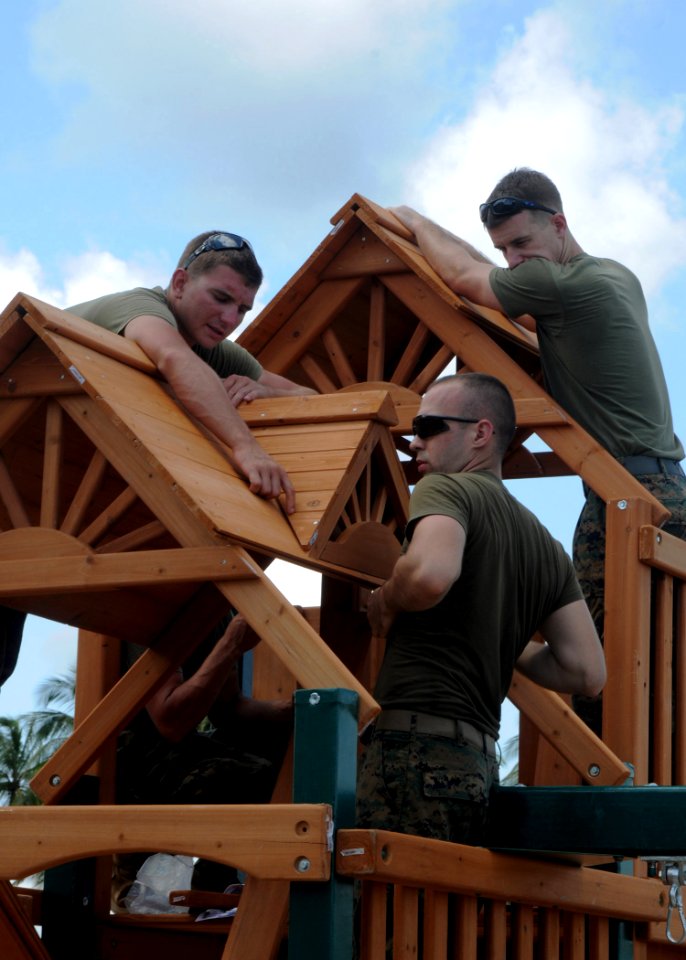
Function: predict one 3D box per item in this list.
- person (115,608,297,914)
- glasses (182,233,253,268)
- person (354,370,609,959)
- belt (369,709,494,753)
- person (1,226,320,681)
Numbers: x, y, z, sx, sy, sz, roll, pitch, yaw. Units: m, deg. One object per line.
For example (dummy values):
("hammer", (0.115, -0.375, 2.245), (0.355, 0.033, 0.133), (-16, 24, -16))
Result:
("person", (-0.549, 1.162, 6.429), (1.099, 1.357, 0.843), (-7, -13, -5))
("glasses", (-0.483, -0.926, 5.626), (0.164, 0.043, 0.167), (-33, -20, 30))
("person", (0.387, 0.536, 4.544), (0.597, 1.221, 0.980), (-6, -22, 28))
("belt", (0.313, 0.789, 4.465), (0.405, 0.109, 0.179), (7, -18, -13))
("person", (-0.618, -0.370, 5.605), (0.930, 1.348, 1.428), (6, -19, -2))
